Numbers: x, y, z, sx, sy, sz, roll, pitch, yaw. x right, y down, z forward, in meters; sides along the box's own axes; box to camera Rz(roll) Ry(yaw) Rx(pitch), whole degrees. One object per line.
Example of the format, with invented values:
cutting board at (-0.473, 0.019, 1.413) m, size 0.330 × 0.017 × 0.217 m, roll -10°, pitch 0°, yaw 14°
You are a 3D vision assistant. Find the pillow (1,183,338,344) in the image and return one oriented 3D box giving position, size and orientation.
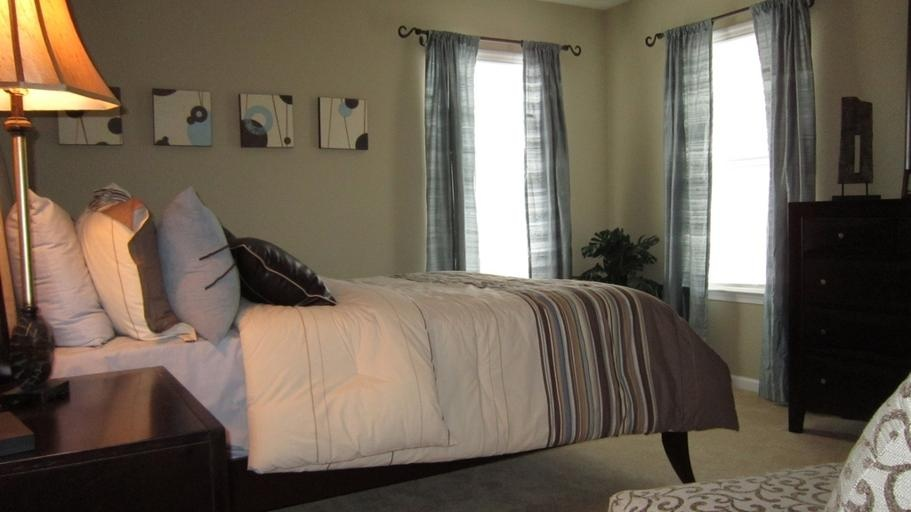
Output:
pillow at (-1.540, 0.076, 3.501) m, size 0.991 × 0.393 × 1.000 m, roll -4°, pitch 41°, yaw -34°
